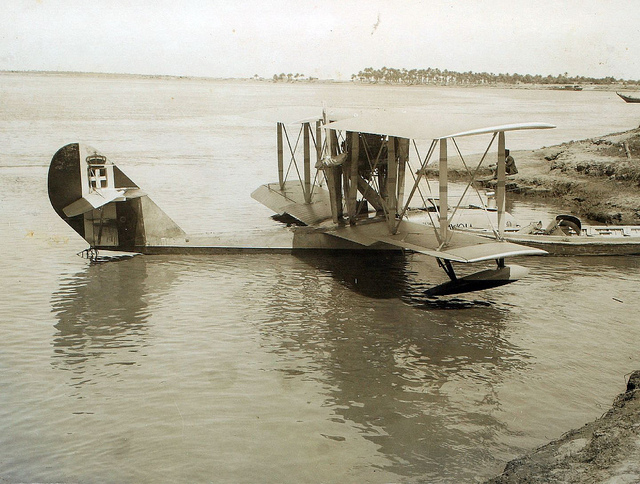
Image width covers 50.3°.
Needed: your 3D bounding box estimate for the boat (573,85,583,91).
[{"bbox_3d":[125.656,-74.778,329.485,3.449,2.913,23.053,5,13,19],"label":"boat"}]
